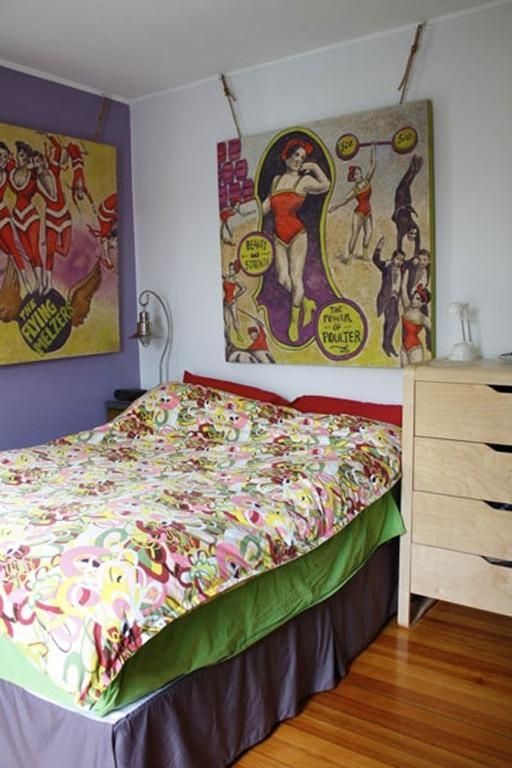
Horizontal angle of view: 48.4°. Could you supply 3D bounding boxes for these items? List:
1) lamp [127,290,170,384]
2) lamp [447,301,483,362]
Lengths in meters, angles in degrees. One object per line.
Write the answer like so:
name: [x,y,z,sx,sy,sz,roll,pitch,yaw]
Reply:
lamp: [-0.629,-0.266,3.264,0.274,0.560,0.398,0,5,9]
lamp: [0.798,-0.200,2.165,0.115,0.224,0.268,1,5,20]
